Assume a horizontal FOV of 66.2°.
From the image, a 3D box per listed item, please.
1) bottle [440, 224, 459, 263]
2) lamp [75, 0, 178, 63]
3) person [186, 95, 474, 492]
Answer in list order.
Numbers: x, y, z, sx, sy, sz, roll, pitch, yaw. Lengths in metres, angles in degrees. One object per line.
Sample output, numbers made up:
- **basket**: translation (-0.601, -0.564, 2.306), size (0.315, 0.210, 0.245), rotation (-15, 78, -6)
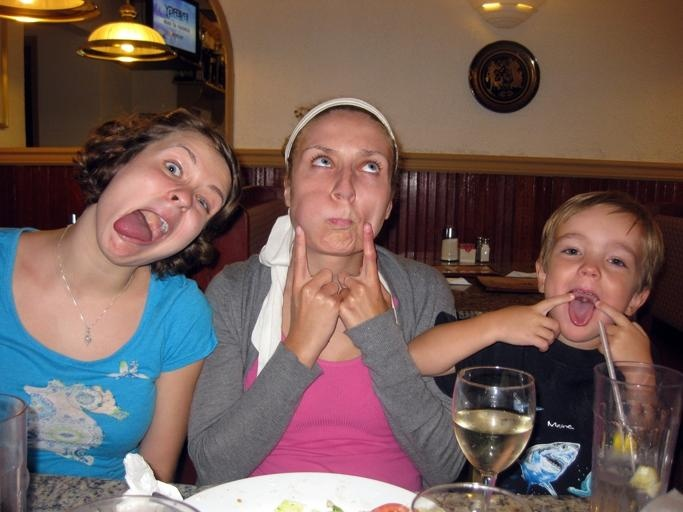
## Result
- **bottle**: translation (0.761, -0.068, 3.613), size (0.120, 0.226, 0.131), rotation (0, 1, 0)
- **lamp**: translation (-1.833, -1.962, 4.468), size (0.766, 0.529, 0.767), rotation (-2, 10, -28)
- **person**: translation (-0.030, 0.193, 1.752), size (0.848, 1.376, 0.708), rotation (1, -1, -4)
